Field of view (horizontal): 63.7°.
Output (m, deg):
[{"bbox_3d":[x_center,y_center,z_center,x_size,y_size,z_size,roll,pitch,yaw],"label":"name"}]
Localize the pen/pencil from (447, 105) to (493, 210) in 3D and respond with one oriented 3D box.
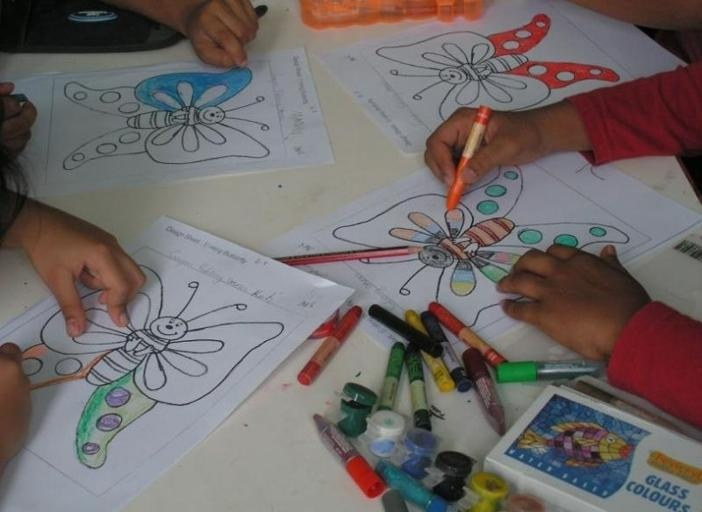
[{"bbox_3d":[0.196,-0.156,0.929,0.027,0.025,0.186,22,82,-12],"label":"pen/pencil"}]
